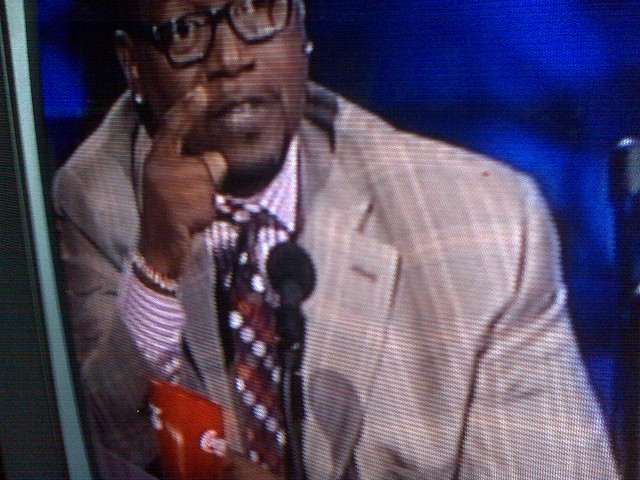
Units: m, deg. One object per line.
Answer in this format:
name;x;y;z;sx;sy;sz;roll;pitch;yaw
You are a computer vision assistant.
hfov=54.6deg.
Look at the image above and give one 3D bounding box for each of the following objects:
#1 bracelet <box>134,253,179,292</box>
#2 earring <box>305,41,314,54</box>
bracelet;-0.640;0.121;2.439;0.217;0.053;0.055;34;13;13
earring;-0.039;-0.654;2.086;0.031;0.035;0.014;16;11;10
